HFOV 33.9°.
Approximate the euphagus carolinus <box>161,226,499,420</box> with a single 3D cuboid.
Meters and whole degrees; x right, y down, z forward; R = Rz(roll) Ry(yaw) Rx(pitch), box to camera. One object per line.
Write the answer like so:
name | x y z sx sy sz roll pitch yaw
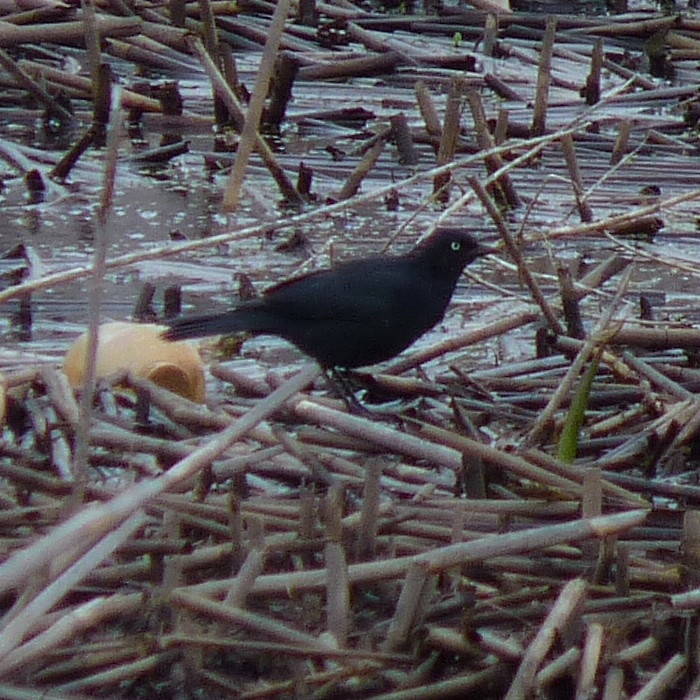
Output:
euphagus carolinus | 0.026 -0.121 3.194 0.917 0.291 0.347 -10 42 -23
